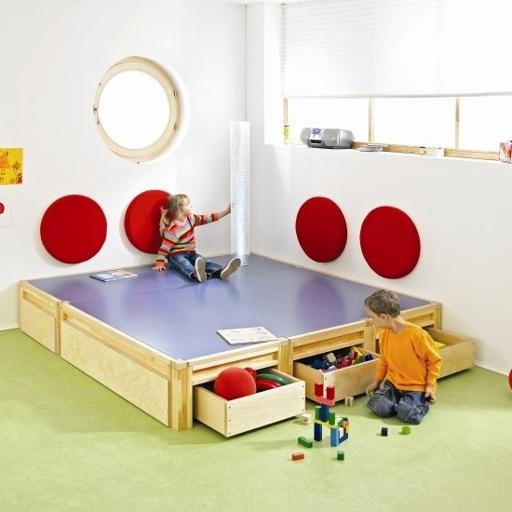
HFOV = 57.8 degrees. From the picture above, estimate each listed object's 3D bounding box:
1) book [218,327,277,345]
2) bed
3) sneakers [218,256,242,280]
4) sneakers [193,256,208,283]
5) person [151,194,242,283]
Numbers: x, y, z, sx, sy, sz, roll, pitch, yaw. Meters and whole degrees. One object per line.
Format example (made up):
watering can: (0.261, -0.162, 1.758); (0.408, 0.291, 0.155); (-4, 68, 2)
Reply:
book: (-0.052, 0.424, 2.500); (0.302, 0.031, 0.277); (0, 4, -14)
bed: (-0.292, 0.414, 2.755); (1.283, 0.312, 1.512); (-9, 17, -38)
sneakers: (-0.204, 0.088, 3.756); (0.083, 0.103, 0.220); (18, 62, 48)
sneakers: (-0.426, 0.091, 3.610); (0.073, 0.218, 0.071); (3, 10, 43)
person: (-0.472, -0.192, 3.990); (0.666, 0.743, 0.655); (5, 5, 33)
